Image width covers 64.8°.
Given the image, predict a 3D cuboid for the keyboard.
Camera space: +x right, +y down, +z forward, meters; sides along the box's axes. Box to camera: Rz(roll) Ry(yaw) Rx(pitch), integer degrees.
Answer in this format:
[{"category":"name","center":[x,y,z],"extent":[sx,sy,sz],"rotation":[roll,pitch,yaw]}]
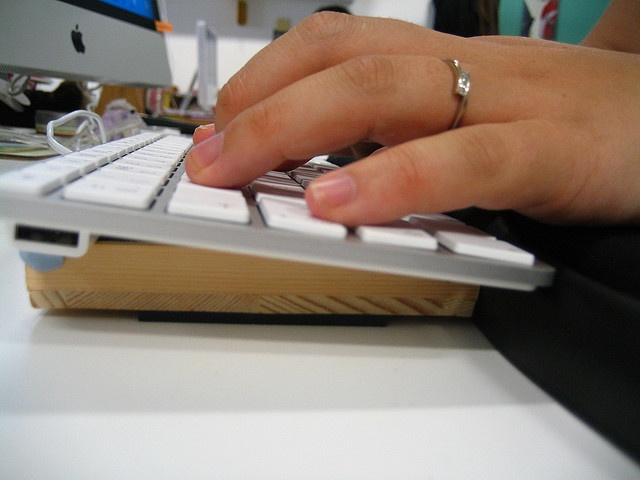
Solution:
[{"category":"keyboard","center":[-0.036,0.001,0.528],"extent":[0.484,0.165,0.226],"rotation":[2,21,-7]}]
